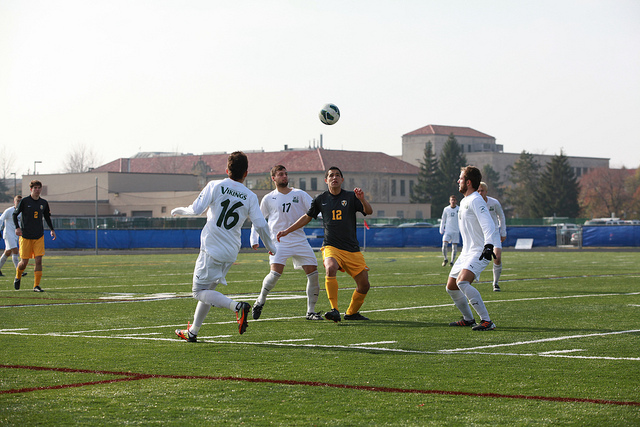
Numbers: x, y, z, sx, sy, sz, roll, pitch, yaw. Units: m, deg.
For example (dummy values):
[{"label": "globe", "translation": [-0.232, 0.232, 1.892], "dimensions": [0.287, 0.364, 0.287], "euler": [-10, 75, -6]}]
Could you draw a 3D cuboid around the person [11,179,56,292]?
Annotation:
[{"label": "person", "translation": [-6.226, 0.489, 24.065], "dimensions": [1.104, 2.319, 0.862], "euler": [0, 1, 10]}]

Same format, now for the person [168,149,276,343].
[{"label": "person", "translation": [-1.467, 0.492, 16.529], "dimensions": [1.344, 2.813, 1.017], "euler": [0, -1, 23]}]

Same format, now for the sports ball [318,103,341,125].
[{"label": "sports ball", "translation": [0.166, -1.955, 22.424], "dimensions": [0.386, 0.425, 0.421], "euler": [0, -1, 0]}]

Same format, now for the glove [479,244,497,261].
[{"label": "glove", "translation": [2.587, 0.602, 17.495], "dimensions": [0.229, 0.216, 0.068], "euler": [12, 20, 5]}]
